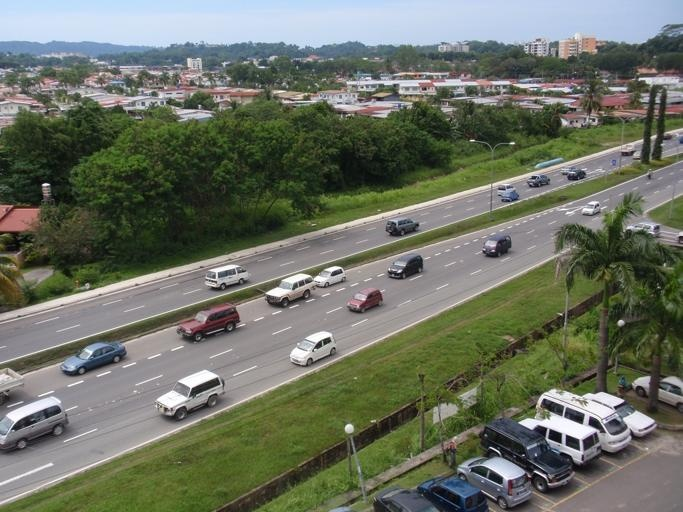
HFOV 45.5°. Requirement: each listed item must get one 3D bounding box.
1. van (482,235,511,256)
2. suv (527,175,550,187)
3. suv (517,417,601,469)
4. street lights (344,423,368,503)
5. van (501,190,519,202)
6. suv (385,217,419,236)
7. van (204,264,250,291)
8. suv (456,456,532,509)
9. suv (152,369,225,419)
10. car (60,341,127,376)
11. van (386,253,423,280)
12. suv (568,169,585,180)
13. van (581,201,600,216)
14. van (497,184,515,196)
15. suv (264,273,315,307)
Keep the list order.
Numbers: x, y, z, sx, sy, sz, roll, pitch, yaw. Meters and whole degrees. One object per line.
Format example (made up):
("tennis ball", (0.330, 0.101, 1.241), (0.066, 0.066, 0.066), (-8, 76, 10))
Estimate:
("van", (17.405, -1.131, 91.074), (1.767, 1.622, 3.260), (5, 12, 36))
("suv", (29.387, -11.164, 120.770), (3.101, 1.183, 1.573), (-16, 22, -31))
("suv", (15.536, 12.968, 58.368), (5.148, 2.242, 2.707), (25, 30, 37))
("street lights", (0.965, 14.032, 55.924), (0.861, 4.898, 0.810), (-10, -21, -25))
("van", (23.152, -8.209, 112.345), (1.474, 1.141, 2.447), (14, 25, 41))
("suv", (7.398, -3.768, 99.230), (3.648, 1.478, 1.856), (-19, 25, -31))
("van", (-12.020, 2.184, 84.487), (3.864, 1.689, 2.202), (-19, 26, -34))
("suv", (10.349, 15.305, 55.263), (4.447, 2.079, 2.713), (24, 28, 39))
("suv", (-12.106, 11.087, 65.086), (4.977, 2.141, 2.838), (-13, 26, -37))
("car", (-21.515, 8.673, 70.131), (5.104, 1.628, 2.347), (-14, 24, -33))
("van", (6.719, 1.096, 86.603), (3.720, 1.592, 2.046), (-12, 14, -43))
("suv", (35.454, -12.150, 122.704), (1.299, 0.836, 2.416), (3, 9, 36))
("van", (31.242, -5.949, 102.020), (1.258, 1.254, 2.618), (9, 17, 43))
("van", (23.120, -9.198, 114.787), (1.559, 1.280, 2.563), (11, 38, 45))
("suv", (-5.172, 3.381, 81.636), (2.255, 2.260, 5.071), (14, 23, 42))
